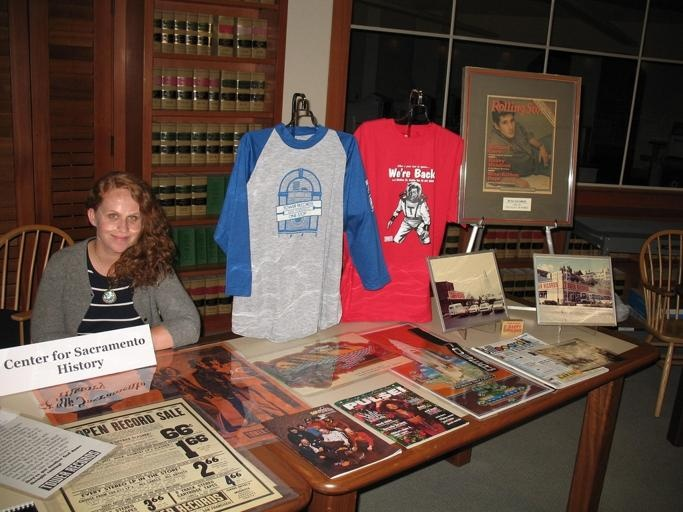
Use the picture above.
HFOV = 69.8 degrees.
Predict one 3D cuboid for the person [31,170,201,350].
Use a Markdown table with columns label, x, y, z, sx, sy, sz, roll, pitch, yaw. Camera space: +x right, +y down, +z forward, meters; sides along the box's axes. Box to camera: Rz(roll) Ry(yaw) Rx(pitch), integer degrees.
| label | x | y | z | sx | sy | sz | roll | pitch | yaw |
| --- | --- | --- | --- | --- | --- | --- | --- | --- | --- |
| person | -0.896 | 0.008 | 1.974 | 0.642 | 0.661 | 0.310 | 2 | 13 | 9 |

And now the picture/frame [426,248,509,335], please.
| label | x | y | z | sx | sy | sz | roll | pitch | yaw |
| --- | --- | --- | --- | --- | --- | --- | --- | --- | --- |
| picture/frame | 0.573 | 0.177 | 2.264 | 0.438 | 0.296 | 0.029 | -13 | -12 | -19 |

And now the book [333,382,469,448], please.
| label | x | y | z | sx | sy | sz | roll | pitch | yaw |
| --- | --- | --- | --- | --- | --- | --- | --- | --- | --- |
| book | 0.196 | 0.531 | 1.651 | 0.380 | 0.015 | 0.337 | 13 | 17 | 35 |

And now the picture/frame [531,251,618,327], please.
| label | x | y | z | sx | sy | sz | roll | pitch | yaw |
| --- | --- | --- | --- | --- | --- | --- | --- | --- | --- |
| picture/frame | 1.099 | 0.159 | 2.316 | 0.507 | 0.339 | 0.025 | 4 | -8 | -23 |

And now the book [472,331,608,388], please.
| label | x | y | z | sx | sy | sz | roll | pitch | yaw |
| --- | --- | --- | --- | --- | --- | --- | --- | --- | --- |
| book | 0.839 | 0.434 | 2.060 | 0.335 | 0.015 | 0.424 | -13 | 17 | -26 |
